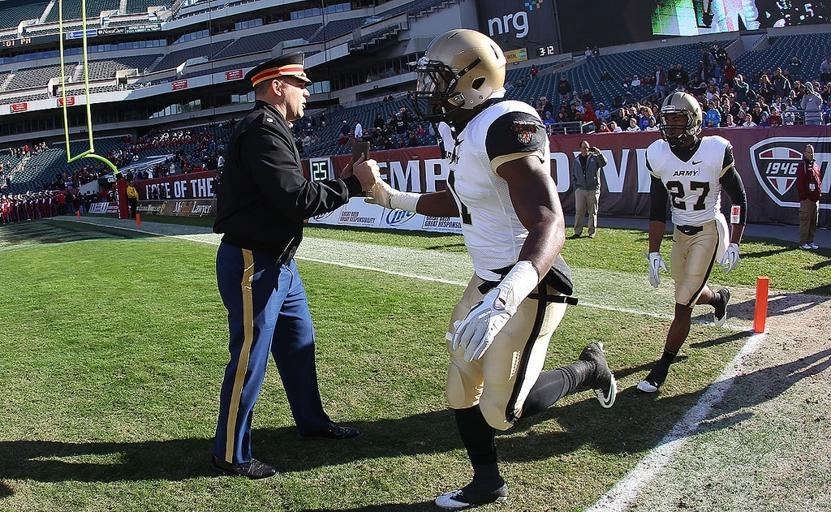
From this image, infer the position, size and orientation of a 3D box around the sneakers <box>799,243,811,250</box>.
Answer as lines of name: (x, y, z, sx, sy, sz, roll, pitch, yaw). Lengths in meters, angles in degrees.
sneakers: (7.622, -0.175, 12.767, 0.273, 0.113, 0.090, -4, 16, -17)

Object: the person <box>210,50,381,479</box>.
person: (-1.339, 0.071, 6.259, 1.458, 3.995, 0.642, -5, 8, -18)

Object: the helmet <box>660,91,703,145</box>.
helmet: (2.974, -1.567, 7.620, 0.406, 0.501, 0.553, -3, -10, 16)

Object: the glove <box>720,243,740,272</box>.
glove: (3.696, 0.018, 7.647, 0.203, 0.341, 0.147, 25, -3, 23)

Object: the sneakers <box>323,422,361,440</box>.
sneakers: (-0.741, 1.769, 6.655, 0.420, 0.156, 0.138, -3, 26, -2)

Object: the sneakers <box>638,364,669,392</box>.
sneakers: (2.594, 1.346, 7.133, 0.344, 0.268, 0.140, -5, 7, -16)

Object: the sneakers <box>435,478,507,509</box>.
sneakers: (0.501, 2.148, 5.940, 0.684, 0.246, 0.240, -2, -3, -4)

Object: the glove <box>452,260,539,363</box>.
glove: (0.627, 0.447, 5.311, 0.544, 0.878, 0.293, 41, -9, 16)

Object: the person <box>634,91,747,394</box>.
person: (3.073, -0.254, 7.536, 1.547, 3.246, 0.822, -8, 9, -37)

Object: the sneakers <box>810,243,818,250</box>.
sneakers: (7.847, -0.185, 12.881, 0.098, 0.119, 0.295, -8, 1, 28)

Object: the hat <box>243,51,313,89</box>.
hat: (-1.336, -1.787, 6.408, 0.657, 0.252, 0.550, -11, 2, -10)
